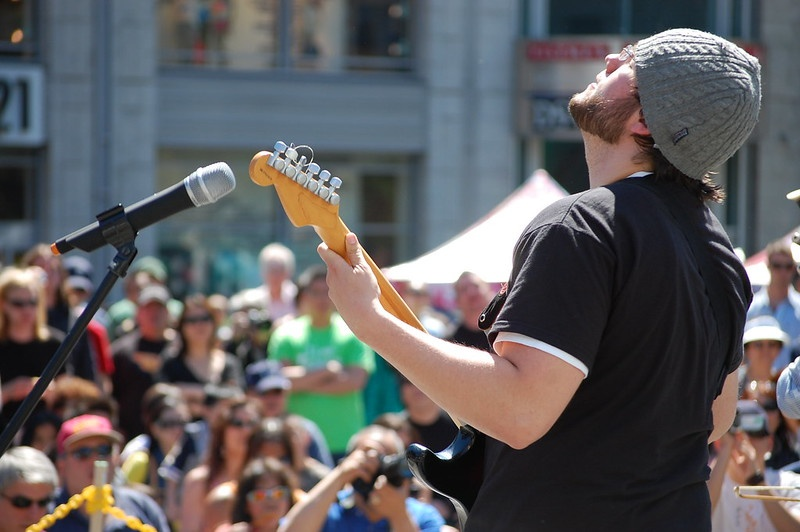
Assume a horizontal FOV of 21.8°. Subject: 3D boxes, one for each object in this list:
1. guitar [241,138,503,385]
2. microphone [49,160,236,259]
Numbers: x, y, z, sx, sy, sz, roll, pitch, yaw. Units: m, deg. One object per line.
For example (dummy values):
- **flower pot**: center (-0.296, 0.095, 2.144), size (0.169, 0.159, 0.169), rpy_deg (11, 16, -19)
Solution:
- **guitar**: center (-0.249, -0.054, 17.147), size (1.070, 2.687, 0.417), rpy_deg (-33, 5, -18)
- **microphone**: center (-2.127, -0.471, 16.619), size (1.529, 0.342, 0.350), rpy_deg (-24, -50, 9)
